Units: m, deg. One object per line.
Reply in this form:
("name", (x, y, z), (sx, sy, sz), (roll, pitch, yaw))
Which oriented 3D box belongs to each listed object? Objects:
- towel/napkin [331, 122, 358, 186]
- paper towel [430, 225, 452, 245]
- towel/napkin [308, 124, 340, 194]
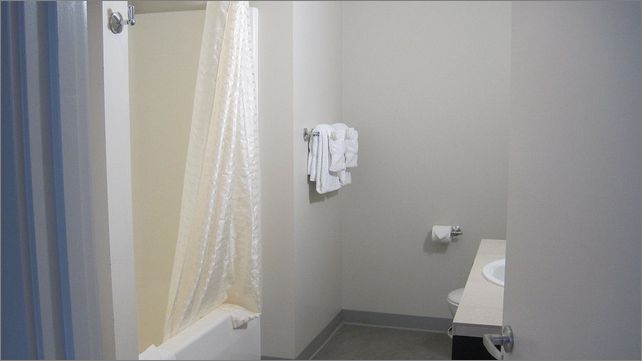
("towel/napkin", (0.184, -0.187, 3.679), (0.119, 0.454, 0.493), (1, 5, 12))
("paper towel", (0.944, 0.432, 3.835), (0.152, 0.136, 0.132), (0, 1, 11))
("towel/napkin", (0.014, -0.152, 3.464), (0.160, 0.474, 0.297), (5, 14, 19))
